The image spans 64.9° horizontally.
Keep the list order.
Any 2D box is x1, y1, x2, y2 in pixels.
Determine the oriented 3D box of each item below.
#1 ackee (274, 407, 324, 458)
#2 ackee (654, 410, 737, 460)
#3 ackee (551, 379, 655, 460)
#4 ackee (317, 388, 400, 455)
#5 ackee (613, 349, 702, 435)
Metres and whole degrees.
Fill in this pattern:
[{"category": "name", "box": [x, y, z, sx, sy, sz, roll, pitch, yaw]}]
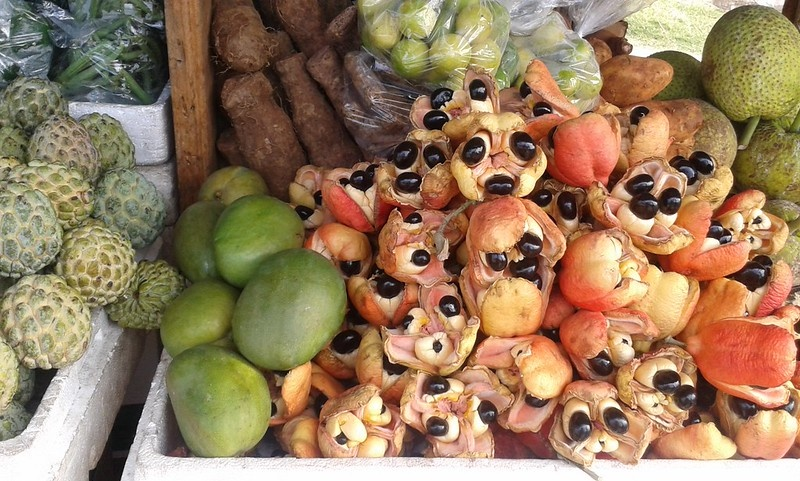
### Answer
[{"category": "ackee", "box": [-0.289, 0.541, 1.763, 0.106, 0.060, 0.120, -33, 61, 10]}, {"category": "ackee", "box": [0.795, 0.538, 1.708, 0.199, 0.069, 0.096, -4, 42, 22]}, {"category": "ackee", "box": [0.553, 0.480, 1.697, 0.255, 0.128, 0.198, -19, 79, 10]}, {"category": "ackee", "box": [-0.101, 0.488, 1.770, 0.228, 0.151, 0.169, -9, 93, 5]}, {"category": "ackee", "box": [0.718, 0.403, 1.702, 0.161, 0.240, 0.197, -9, 97, -11]}]
